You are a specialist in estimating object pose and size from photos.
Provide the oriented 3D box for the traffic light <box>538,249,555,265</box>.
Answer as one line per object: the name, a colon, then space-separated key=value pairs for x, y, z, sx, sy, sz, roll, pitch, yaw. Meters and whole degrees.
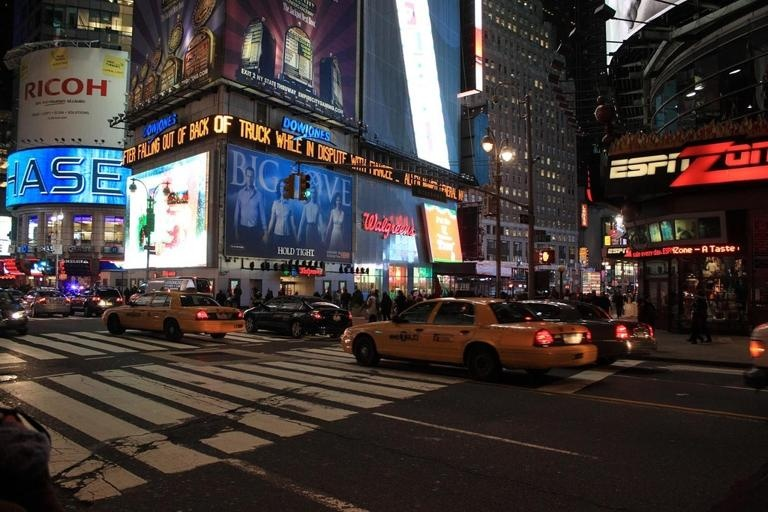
traffic light: x=7.322 y=0.008 z=30.486 sx=0.602 sy=0.737 sz=1.026 roll=-1 pitch=11 yaw=-3

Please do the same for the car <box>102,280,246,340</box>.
car: x=-9.179 y=2.307 z=28.499 sx=5.484 sy=1.556 sz=2.357 roll=3 pitch=-1 yaw=33

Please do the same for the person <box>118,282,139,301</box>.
person: x=-17.772 y=2.426 z=46.804 sx=0.863 sy=0.639 sz=1.910 roll=1 pitch=2 yaw=-28

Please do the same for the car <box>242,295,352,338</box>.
car: x=-4.010 y=2.842 z=30.888 sx=4.450 sy=1.948 sz=1.838 roll=5 pitch=12 yaw=27
